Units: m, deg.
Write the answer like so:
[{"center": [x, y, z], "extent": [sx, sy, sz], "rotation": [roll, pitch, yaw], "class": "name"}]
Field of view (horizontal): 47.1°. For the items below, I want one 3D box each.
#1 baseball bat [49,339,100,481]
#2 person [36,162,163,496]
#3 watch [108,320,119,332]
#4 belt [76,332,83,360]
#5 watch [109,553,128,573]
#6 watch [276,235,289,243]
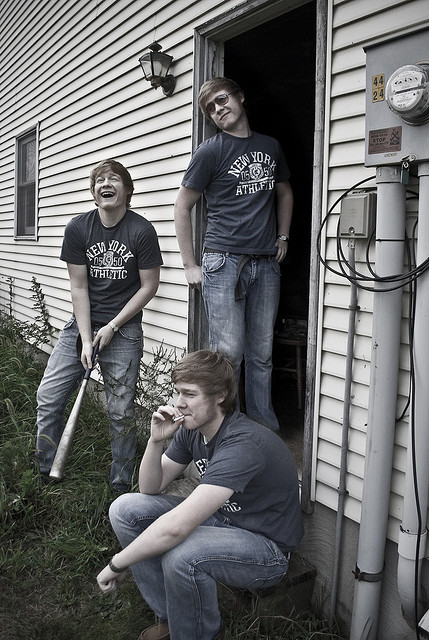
[{"center": [-0.827, 0.547, 2.890], "extent": [0.075, 0.882, 0.062], "rotation": [6, -26, 23], "class": "baseball bat"}, {"center": [-0.670, 0.092, 2.798], "extent": [0.625, 1.992, 0.570], "rotation": [4, 10, -6], "class": "person"}, {"center": [-0.546, 0.034, 2.653], "extent": [0.034, 0.054, 0.050], "rotation": [-12, 24, -39], "class": "watch"}, {"center": [-0.742, 0.151, 2.738], "extent": [0.023, 0.116, 0.072], "rotation": [6, -3, -2], "class": "belt"}, {"center": [-0.322, 0.791, 1.604], "extent": [0.035, 0.023, 0.043], "rotation": [22, -49, -30], "class": "watch"}, {"center": [0.350, -0.403, 2.505], "extent": [0.031, 0.037, 0.038], "rotation": [9, 38, -11], "class": "watch"}]
